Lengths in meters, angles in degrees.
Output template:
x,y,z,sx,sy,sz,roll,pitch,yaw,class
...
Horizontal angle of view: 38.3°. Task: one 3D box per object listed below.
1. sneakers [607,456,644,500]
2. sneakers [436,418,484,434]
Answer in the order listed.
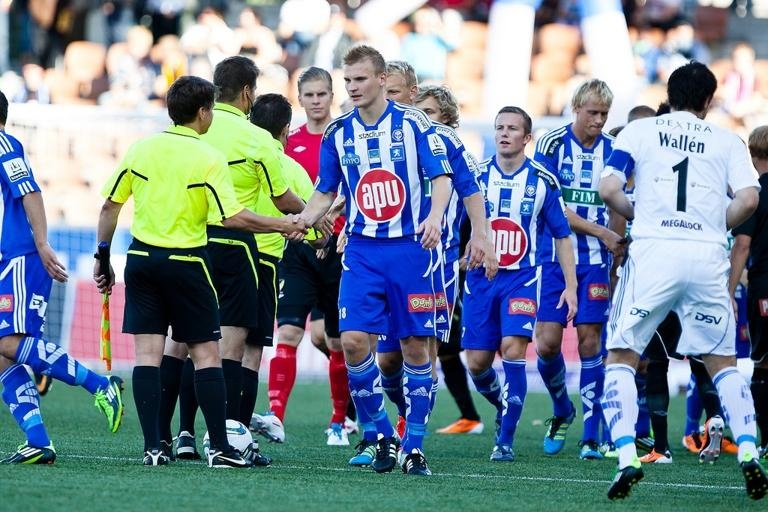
x,y,z,sx,sy,sz,roll,pitch,yaw,class
1.813,1.689,8.255,0.256,0.311,0.178,-1,-4,12,sneakers
0.813,1.788,11.625,0.519,0.224,0.185,0,-6,3,sneakers
